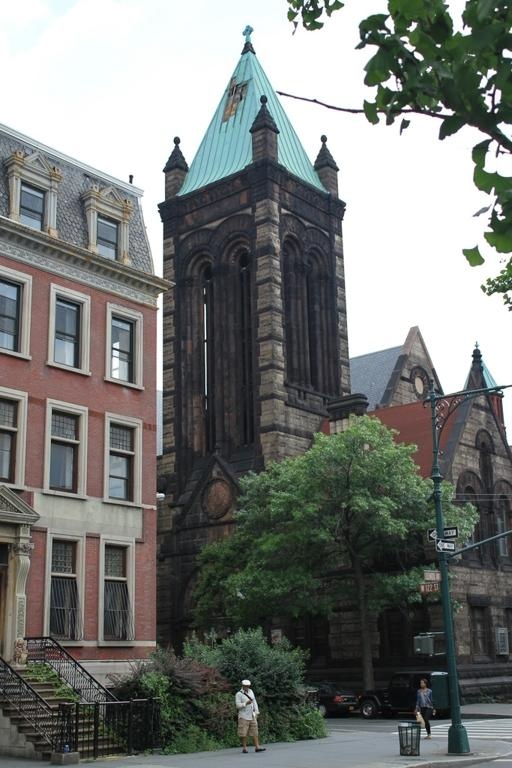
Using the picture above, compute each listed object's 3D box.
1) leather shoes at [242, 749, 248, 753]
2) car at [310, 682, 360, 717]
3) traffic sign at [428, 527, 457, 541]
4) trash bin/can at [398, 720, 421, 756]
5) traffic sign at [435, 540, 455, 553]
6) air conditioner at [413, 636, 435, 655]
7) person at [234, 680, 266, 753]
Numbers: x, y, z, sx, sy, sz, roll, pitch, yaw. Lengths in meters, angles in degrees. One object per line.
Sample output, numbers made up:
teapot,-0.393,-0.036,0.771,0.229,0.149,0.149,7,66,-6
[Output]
leather shoes,-0.236,8.495,19.779,0.066,0.117,0.166,5,-24,-18
car,3.189,12.572,33.952,1.632,1.229,1.176,-7,-18,13
traffic sign,5.039,4.045,23.023,1.093,0.419,0.175,12,-18,-36
trash bin/can,3.400,7.907,19.099,0.487,0.729,1.447,-5,-18,7
traffic sign,4.966,4.289,22.546,0.644,0.350,0.232,13,-24,-40
air conditioner,4.493,7.004,22.950,0.458,0.452,1.187,-5,-18,7
person,-0.153,7.838,20.197,0.603,1.581,1.044,-3,-18,0
